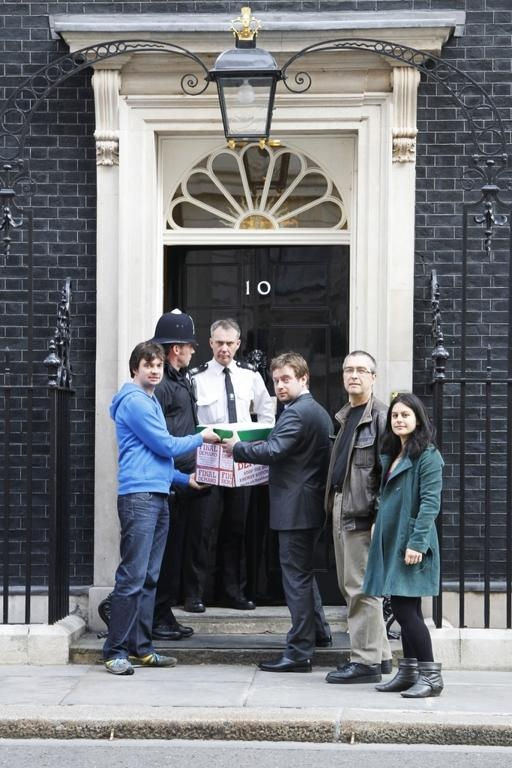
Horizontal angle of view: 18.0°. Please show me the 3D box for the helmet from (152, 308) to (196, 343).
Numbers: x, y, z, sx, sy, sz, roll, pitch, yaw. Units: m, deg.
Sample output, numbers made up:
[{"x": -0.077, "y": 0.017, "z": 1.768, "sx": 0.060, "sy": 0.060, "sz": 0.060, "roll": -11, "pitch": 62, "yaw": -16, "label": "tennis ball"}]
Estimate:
[{"x": -0.474, "y": -0.356, "z": 9.673, "sx": 0.214, "sy": 0.143, "sz": 0.189, "roll": -17, "pitch": 25, "yaw": -39, "label": "helmet"}]

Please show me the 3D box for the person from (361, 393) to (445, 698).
[{"x": 0.780, "y": 0.841, "z": 8.602, "sx": 0.442, "sy": 1.602, "sz": 0.364, "roll": -2, "pitch": -3, "yaw": 19, "label": "person"}]

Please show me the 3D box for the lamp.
[{"x": -0.054, "y": -1.748, "z": 9.192, "sx": 0.402, "sy": 0.749, "sz": 0.372, "roll": -1, "pitch": -3, "yaw": 0, "label": "lamp"}]

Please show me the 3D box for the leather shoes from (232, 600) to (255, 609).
[{"x": -0.076, "y": 1.375, "z": 10.246, "sx": 0.149, "sy": 0.063, "sz": 0.058, "roll": -1, "pitch": 1, "yaw": 12, "label": "leather shoes"}]

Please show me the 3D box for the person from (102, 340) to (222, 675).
[{"x": -0.576, "y": 0.683, "z": 9.240, "sx": 0.596, "sy": 1.863, "sz": 0.489, "roll": 0, "pitch": -3, "yaw": -17, "label": "person"}]

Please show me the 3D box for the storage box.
[{"x": -0.143, "y": 0.400, "z": 9.436, "sx": 0.273, "sy": 0.330, "sz": 0.486, "roll": 4, "pitch": 2, "yaw": 20, "label": "storage box"}]
